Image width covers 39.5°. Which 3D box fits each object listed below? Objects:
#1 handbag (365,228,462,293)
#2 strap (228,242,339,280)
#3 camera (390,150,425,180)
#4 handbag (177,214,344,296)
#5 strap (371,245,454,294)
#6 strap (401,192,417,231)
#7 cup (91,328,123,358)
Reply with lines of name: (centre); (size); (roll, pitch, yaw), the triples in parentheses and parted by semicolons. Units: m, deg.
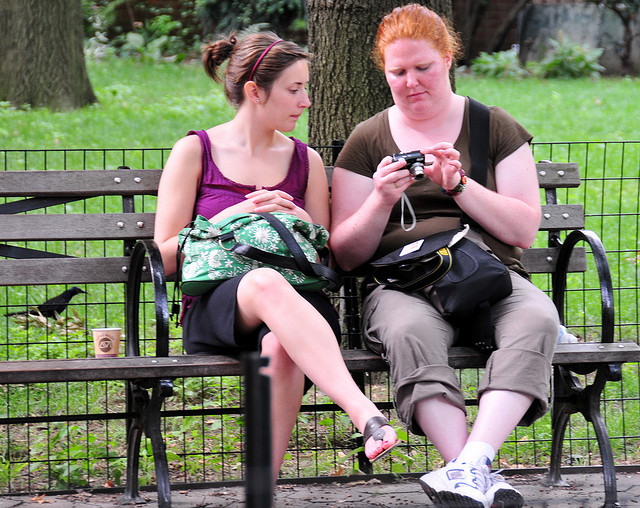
handbag: (0.417, 0.040, 4.372); (0.495, 0.139, 0.418); (-3, 12, 26)
strap: (-0.204, 0.048, 4.242); (0.179, 0.150, 0.829); (-24, 18, -38)
camera: (0.414, -0.435, 4.307); (0.236, 0.123, 0.129); (-4, 45, -4)
handbag: (-0.388, -0.044, 4.406); (0.941, 0.329, 0.478); (-3, 23, -42)
strap: (0.436, 0.085, 4.290); (0.355, 0.068, 0.178); (-11, 29, 35)
strap: (0.451, -0.219, 4.577); (0.081, 0.201, 0.113); (-2, 9, 5)
cup: (-1.069, 0.441, 4.452); (0.193, 0.106, 0.164); (0, -5, 0)
